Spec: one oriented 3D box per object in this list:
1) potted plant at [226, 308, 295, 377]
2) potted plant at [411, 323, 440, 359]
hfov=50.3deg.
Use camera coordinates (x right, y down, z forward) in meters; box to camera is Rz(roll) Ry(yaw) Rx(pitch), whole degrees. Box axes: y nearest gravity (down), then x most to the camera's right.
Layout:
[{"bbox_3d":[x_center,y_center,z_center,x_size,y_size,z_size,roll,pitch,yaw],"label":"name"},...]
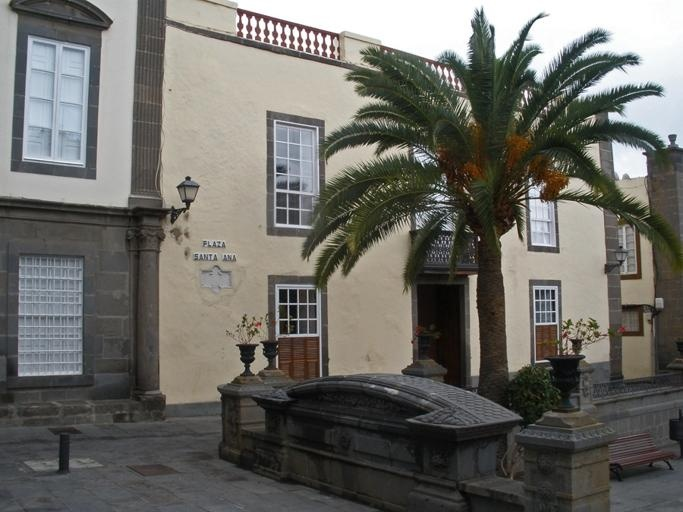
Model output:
[{"bbox_3d":[-2.001,2.066,17.326,1.648,2.031,0.823,2,-4,-27],"label":"potted plant"},{"bbox_3d":[1.986,2.067,17.361,0.847,0.908,0.828,-8,-10,40],"label":"potted plant"}]
